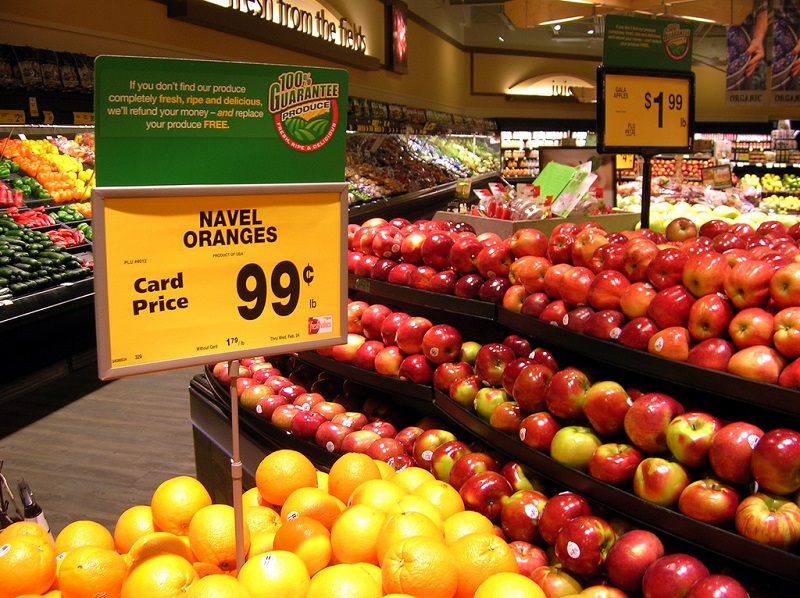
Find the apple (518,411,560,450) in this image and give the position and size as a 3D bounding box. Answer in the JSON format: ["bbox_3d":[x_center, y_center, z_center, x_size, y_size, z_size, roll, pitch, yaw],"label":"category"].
[{"bbox_3d":[0.430,0.410,1.491,0.110,0.121,0.114,-6,16,-6],"label":"apple"}]

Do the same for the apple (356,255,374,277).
[{"bbox_3d":[-0.156,-0.156,2.373,0.117,0.089,0.086,12,19,43],"label":"apple"}]

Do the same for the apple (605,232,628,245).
[{"bbox_3d":[0.808,-0.221,1.787,0.071,0.043,0.074,-1,23,11],"label":"apple"}]

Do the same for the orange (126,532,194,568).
[{"bbox_3d":[-0.549,0.585,1.114,0.076,0.093,0.078,-18,24,10],"label":"orange"}]

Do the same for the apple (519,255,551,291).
[{"bbox_3d":[0.497,-0.085,1.800,0.109,0.114,0.108,11,-5,27],"label":"apple"}]

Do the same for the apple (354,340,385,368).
[{"bbox_3d":[-0.149,0.231,2.162,0.106,0.132,0.108,27,-5,-5],"label":"apple"}]

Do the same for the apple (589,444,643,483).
[{"bbox_3d":[0.584,0.458,1.307,0.109,0.107,0.114,3,20,22],"label":"apple"}]

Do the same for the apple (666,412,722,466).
[{"bbox_3d":[0.755,0.368,1.221,0.126,0.123,0.130,-4,26,37],"label":"apple"}]

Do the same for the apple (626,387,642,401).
[{"bbox_3d":[0.698,0.285,1.431,0.029,0.032,0.029,-17,18,-41],"label":"apple"}]

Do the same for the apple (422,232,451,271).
[{"bbox_3d":[0.171,-0.207,2.121,0.149,0.159,0.146,4,13,18],"label":"apple"}]

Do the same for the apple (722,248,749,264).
[{"bbox_3d":[0.981,-0.123,1.406,0.054,0.056,0.054,-11,4,-13],"label":"apple"}]

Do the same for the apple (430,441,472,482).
[{"bbox_3d":[0.179,0.544,1.682,0.111,0.124,0.120,-7,22,-9],"label":"apple"}]

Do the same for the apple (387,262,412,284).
[{"bbox_3d":[0.007,-0.109,2.238,0.090,0.113,0.090,21,9,35],"label":"apple"}]

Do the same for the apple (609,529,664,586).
[{"bbox_3d":[0.555,0.620,1.145,0.114,0.122,0.116,-16,-47,41],"label":"apple"}]

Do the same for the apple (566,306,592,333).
[{"bbox_3d":[0.566,0.067,1.525,0.073,0.076,0.075,-20,13,12],"label":"apple"}]

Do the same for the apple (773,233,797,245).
[{"bbox_3d":[1.339,-0.204,1.684,0.059,0.041,0.074,-2,11,-1],"label":"apple"}]

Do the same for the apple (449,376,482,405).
[{"bbox_3d":[0.239,0.336,1.749,0.090,0.097,0.094,0,15,6],"label":"apple"}]

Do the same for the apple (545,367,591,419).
[{"bbox_3d":[0.494,0.282,1.492,0.129,0.144,0.136,-24,-9,1],"label":"apple"}]

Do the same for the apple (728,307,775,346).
[{"bbox_3d":[0.916,0.088,1.229,0.108,0.118,0.112,-5,-4,44],"label":"apple"}]

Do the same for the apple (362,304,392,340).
[{"bbox_3d":[-0.110,0.094,2.247,0.134,0.145,0.166,-8,2,8],"label":"apple"}]

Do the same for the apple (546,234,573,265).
[{"bbox_3d":[0.609,-0.179,1.855,0.098,0.106,0.099,23,-25,-39],"label":"apple"}]

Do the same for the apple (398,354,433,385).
[{"bbox_3d":[0.077,0.290,2.004,0.101,0.110,0.114,-23,33,38],"label":"apple"}]

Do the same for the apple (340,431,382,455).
[{"bbox_3d":[-0.146,0.554,1.864,0.092,0.093,0.097,0,8,-18],"label":"apple"}]

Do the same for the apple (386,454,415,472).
[{"bbox_3d":[-0.001,0.586,1.748,0.058,0.059,0.056,2,1,34],"label":"apple"}]

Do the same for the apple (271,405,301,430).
[{"bbox_3d":[-0.497,0.514,2.118,0.092,0.090,0.091,10,5,33],"label":"apple"}]

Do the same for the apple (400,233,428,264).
[{"bbox_3d":[0.057,-0.222,2.175,0.122,0.156,0.125,5,4,13],"label":"apple"}]

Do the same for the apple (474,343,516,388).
[{"bbox_3d":[0.326,0.225,1.711,0.133,0.139,0.138,-4,9,-6],"label":"apple"}]

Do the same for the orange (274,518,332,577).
[{"bbox_3d":[-0.235,0.597,1.230,0.113,0.139,0.116,5,16,24],"label":"orange"}]

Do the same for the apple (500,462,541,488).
[{"bbox_3d":[0.382,0.571,1.528,0.067,0.074,0.072,-44,-1,38],"label":"apple"}]

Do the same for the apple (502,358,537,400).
[{"bbox_3d":[0.380,0.255,1.602,0.111,0.141,0.113,3,8,-40],"label":"apple"}]

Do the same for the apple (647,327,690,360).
[{"bbox_3d":[0.718,0.125,1.301,0.086,0.085,0.082,5,-26,7],"label":"apple"}]

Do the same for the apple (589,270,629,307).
[{"bbox_3d":[0.656,-0.026,1.566,0.108,0.111,0.112,-43,-4,18],"label":"apple"}]

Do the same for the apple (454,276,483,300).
[{"bbox_3d":[0.277,-0.048,1.988,0.088,0.090,0.111,23,57,11],"label":"apple"}]

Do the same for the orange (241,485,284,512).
[{"bbox_3d":[-0.426,0.625,1.491,0.081,0.099,0.085,31,25,-25],"label":"orange"}]

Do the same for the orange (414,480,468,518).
[{"bbox_3d":[0.122,0.539,1.350,0.095,0.096,0.096,7,9,0],"label":"orange"}]

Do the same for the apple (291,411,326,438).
[{"bbox_3d":[-0.385,0.526,2.048,0.100,0.099,0.104,16,11,10],"label":"apple"}]
